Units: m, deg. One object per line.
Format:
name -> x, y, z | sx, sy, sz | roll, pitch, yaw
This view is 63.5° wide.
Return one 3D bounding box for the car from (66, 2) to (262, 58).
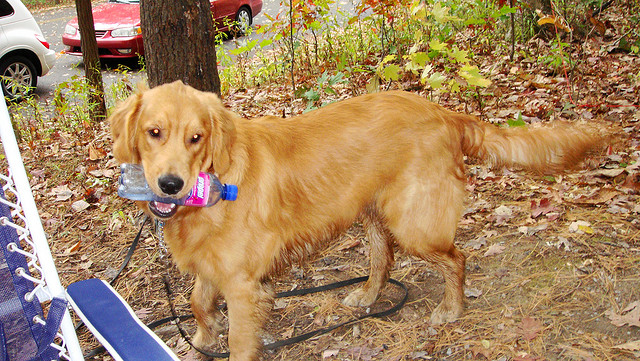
car -> -3.871, -3.718, 12.477 | 4.283, 1.107, 3.834 | -2, 20, 4
